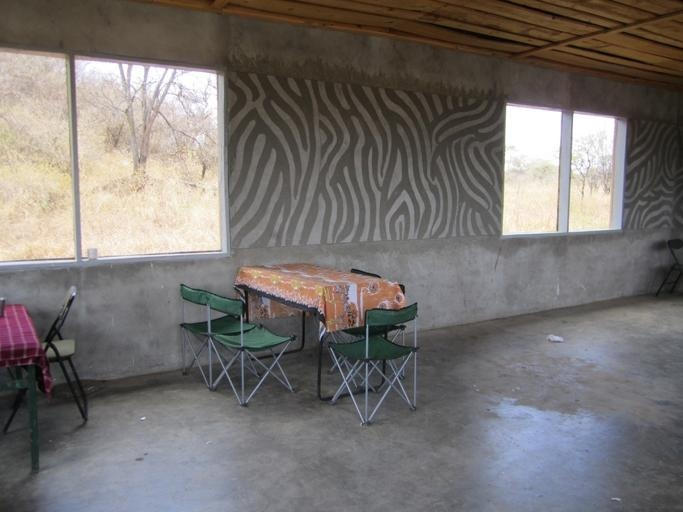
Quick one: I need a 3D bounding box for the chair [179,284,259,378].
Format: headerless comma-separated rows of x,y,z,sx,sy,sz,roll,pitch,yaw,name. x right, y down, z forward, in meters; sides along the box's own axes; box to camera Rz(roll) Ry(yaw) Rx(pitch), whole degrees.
-1.340,0.804,6.026,0.511,0.816,0.783,-8,13,-43,chair

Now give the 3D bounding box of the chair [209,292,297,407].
-0.886,0.878,5.671,0.757,1.096,0.838,4,10,25,chair

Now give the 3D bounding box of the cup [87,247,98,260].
-2.610,-0.017,5.872,0.127,0.137,0.096,-3,8,-18,cup
